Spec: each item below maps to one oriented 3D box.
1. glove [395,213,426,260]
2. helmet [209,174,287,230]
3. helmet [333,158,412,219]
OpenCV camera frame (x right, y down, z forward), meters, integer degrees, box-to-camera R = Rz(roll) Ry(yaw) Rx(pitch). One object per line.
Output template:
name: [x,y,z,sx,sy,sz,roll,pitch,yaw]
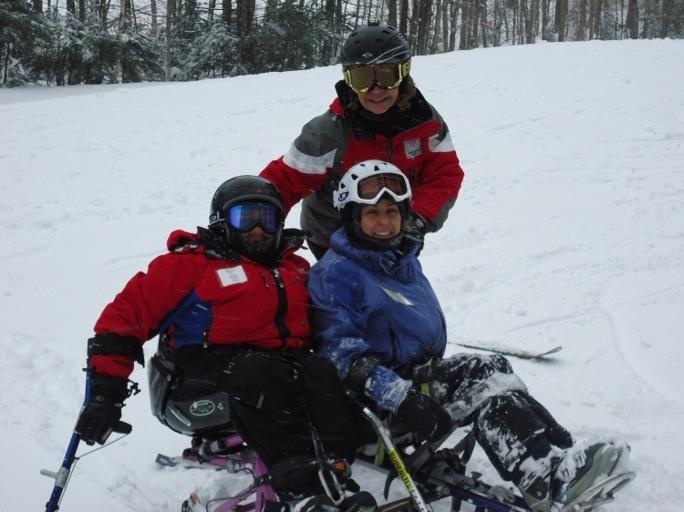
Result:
glove: [0.524,-0.138,5.395,0.228,0.317,0.121,9,-8,-19]
helmet: [-0.661,-0.371,5.493,0.538,0.441,0.565,3,-2,-9]
helmet: [0.225,-0.487,5.228,0.393,0.272,0.431,-6,1,-16]
